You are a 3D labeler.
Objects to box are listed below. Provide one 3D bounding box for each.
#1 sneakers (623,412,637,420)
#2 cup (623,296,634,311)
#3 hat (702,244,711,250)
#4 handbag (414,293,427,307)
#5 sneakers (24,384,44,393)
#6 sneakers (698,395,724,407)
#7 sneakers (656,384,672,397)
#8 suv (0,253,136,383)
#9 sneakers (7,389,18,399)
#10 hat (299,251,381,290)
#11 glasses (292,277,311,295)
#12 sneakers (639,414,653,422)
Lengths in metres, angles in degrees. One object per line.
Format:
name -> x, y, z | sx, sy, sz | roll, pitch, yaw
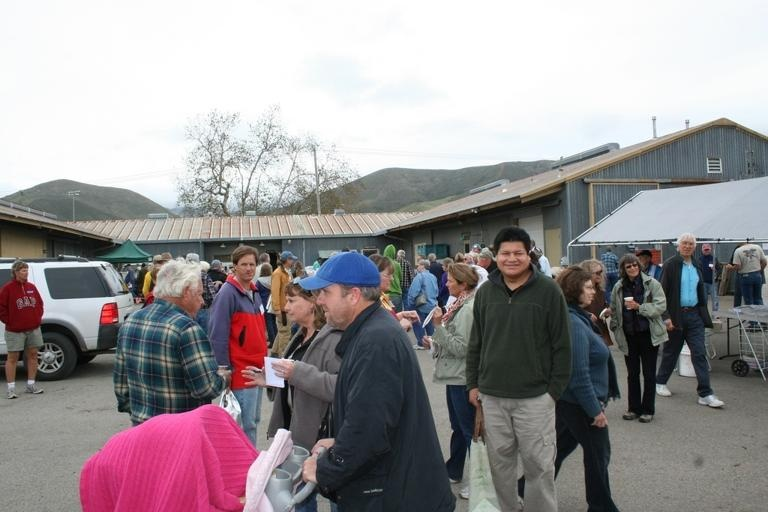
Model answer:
sneakers -> 3.412, 2.227, 8.538 | 0.213, 0.094, 0.076 | 11, -12, -38
cup -> 3.365, 0.655, 8.408 | 0.141, 0.131, 0.144 | -4, -5, 0
hat -> 8.328, -0.238, 15.871 | 0.149, 0.174, 0.213 | -1, -14, 27
handbag -> 0.776, 0.909, 12.831 | 0.236, 0.255, 0.119 | -8, -14, 31
sneakers -> -5.885, 2.236, 10.325 | 0.345, 0.158, 0.144 | 0, -3, 18
sneakers -> 4.709, 2.101, 8.894 | 0.331, 0.161, 0.146 | -6, -6, 41
sneakers -> 4.297, 2.071, 9.438 | 0.124, 0.144, 0.350 | -1, -7, 0
suv -> -5.553, 1.031, 11.392 | 2.712, 1.501, 1.556 | 2, -2, 3
sneakers -> -6.037, 2.253, 10.034 | 0.096, 0.113, 0.239 | 6, -10, -34
hat -> -0.370, 0.119, 5.161 | 0.658, 0.318, 0.274 | -2, -3, -1
glasses -> -0.780, 0.283, 6.101 | 0.238, 0.092, 0.176 | 21, 19, -8
sneakers -> 3.546, 2.202, 8.366 | 0.073, 0.090, 0.192 | -7, -19, 28
